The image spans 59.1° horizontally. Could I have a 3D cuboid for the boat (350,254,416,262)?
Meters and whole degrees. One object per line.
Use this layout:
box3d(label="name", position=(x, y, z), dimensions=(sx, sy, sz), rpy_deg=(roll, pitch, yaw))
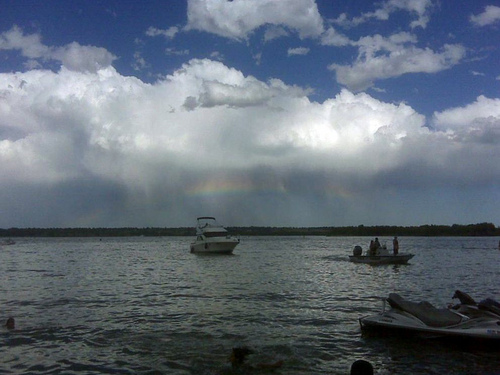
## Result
box3d(label="boat", position=(15.109, 8.007, 50.215), dimensions=(5.490, 0.860, 1.488), rpy_deg=(-2, -3, 24))

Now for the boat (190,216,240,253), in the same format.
box3d(label="boat", position=(-5.586, 7.442, 68.725), dimensions=(3.622, 5.568, 9.866), rpy_deg=(1, -7, -31))

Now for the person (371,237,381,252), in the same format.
box3d(label="person", position=(14.633, 6.580, 51.069), dimensions=(0.935, 1.447, 1.925), rpy_deg=(-5, -6, 19))

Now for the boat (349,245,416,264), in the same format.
box3d(label="boat", position=(15.269, 7.972, 50.272), dimensions=(7.680, 2.519, 2.530), rpy_deg=(-4, -6, 21))

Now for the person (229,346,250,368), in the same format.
box3d(label="person", position=(-0.425, 7.073, 18.426), dimensions=(0.870, 0.663, 0.818), rpy_deg=(-3, -6, -2))
